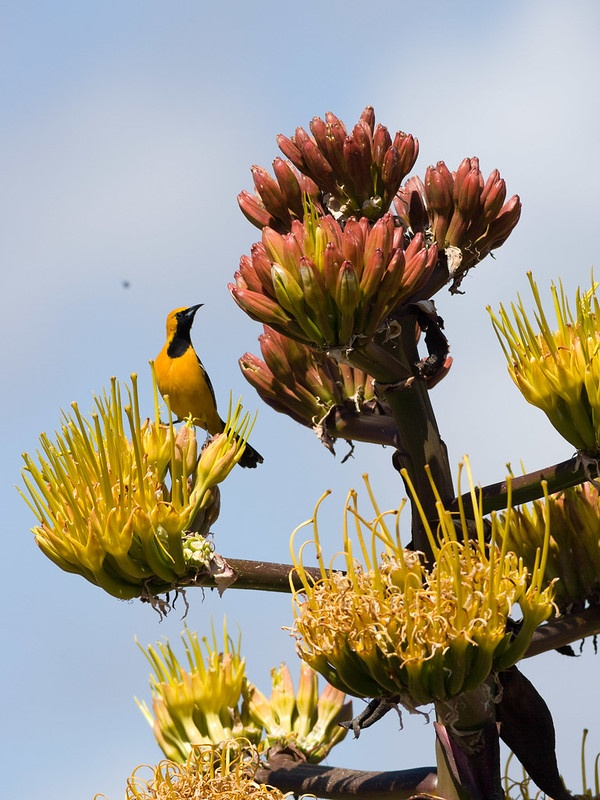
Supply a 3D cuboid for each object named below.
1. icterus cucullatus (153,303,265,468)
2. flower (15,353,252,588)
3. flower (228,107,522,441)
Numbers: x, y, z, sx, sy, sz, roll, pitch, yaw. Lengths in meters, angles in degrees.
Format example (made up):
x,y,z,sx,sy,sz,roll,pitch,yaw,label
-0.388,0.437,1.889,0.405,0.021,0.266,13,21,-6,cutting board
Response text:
x,y,z,sx,sy,sz,roll,pitch,yaw,label
-0.440,-0.080,7.347,0.212,0.491,0.771,5,-13,18,icterus cucullatus
-0.384,0.230,3.979,0.427,0.369,0.361,-25,-16,-14,flower
0.167,-0.327,4.198,0.649,0.860,0.623,12,-22,-44,flower
